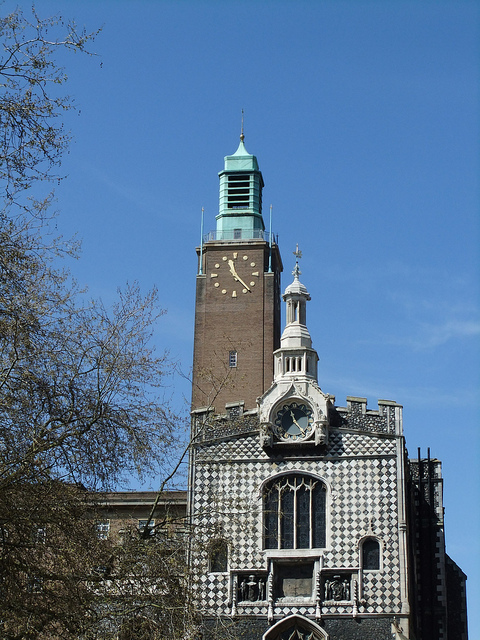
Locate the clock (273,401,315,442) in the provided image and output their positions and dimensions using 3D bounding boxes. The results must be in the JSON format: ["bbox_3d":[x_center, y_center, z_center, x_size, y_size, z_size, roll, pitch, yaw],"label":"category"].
[{"bbox_3d":[1.918,3.706,51.754,1.197,1.488,0.106,-3,-31,4],"label":"clock"}]
